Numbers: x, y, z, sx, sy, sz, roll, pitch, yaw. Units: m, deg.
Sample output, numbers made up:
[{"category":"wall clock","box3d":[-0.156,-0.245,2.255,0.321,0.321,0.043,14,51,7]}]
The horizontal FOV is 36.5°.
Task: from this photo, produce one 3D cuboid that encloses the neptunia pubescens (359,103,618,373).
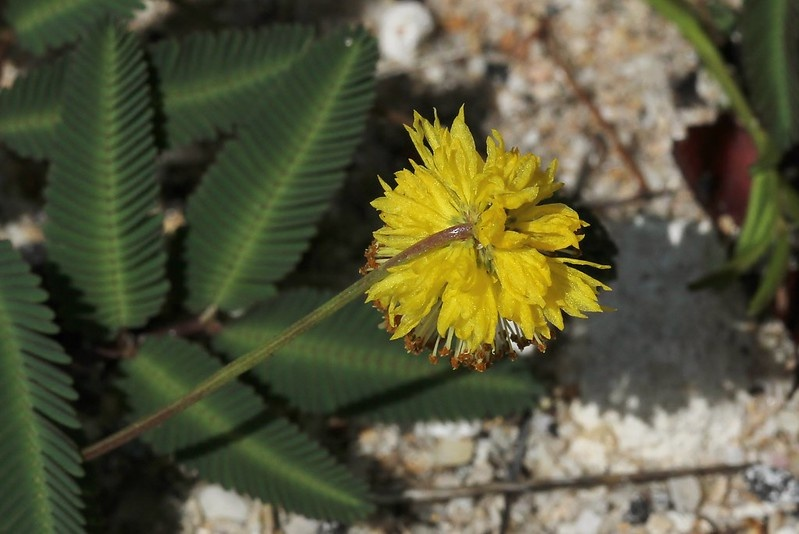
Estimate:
[{"category":"neptunia pubescens","box3d":[0.206,-0.119,2.786,0.516,0.374,0.546,5,-26,18]}]
